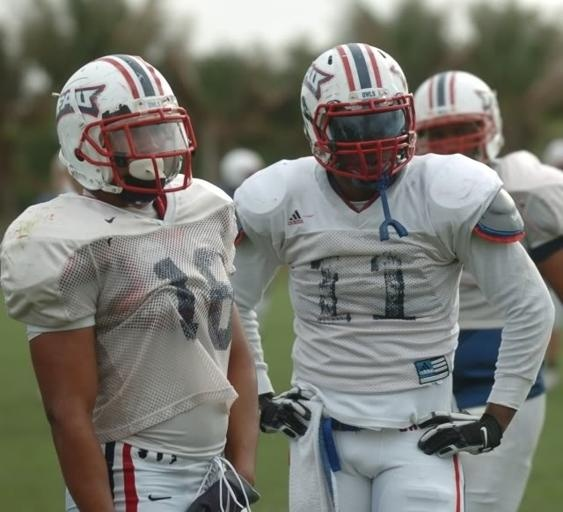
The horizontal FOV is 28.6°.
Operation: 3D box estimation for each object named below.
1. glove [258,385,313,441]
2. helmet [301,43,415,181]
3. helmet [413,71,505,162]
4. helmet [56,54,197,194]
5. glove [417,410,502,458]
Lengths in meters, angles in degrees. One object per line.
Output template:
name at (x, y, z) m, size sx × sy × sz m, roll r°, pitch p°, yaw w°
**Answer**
glove at (0.033, 0.531, 4.079) m, size 0.261 × 0.075 × 0.165 m, roll 26°, pitch 36°, yaw -13°
helmet at (0.273, -0.579, 4.095) m, size 0.395 × 0.453 × 0.549 m, roll -11°, pitch 17°, yaw -20°
helmet at (0.855, -0.682, 5.416) m, size 0.401 × 0.485 × 0.594 m, roll -7°, pitch 7°, yaw 17°
helmet at (-0.515, -0.426, 3.640) m, size 0.396 × 0.483 × 0.516 m, roll -12°, pitch 12°, yaw -42°
glove at (0.618, 0.631, 3.873) m, size 0.264 × 0.218 × 0.122 m, roll -7°, pitch 54°, yaw -10°
